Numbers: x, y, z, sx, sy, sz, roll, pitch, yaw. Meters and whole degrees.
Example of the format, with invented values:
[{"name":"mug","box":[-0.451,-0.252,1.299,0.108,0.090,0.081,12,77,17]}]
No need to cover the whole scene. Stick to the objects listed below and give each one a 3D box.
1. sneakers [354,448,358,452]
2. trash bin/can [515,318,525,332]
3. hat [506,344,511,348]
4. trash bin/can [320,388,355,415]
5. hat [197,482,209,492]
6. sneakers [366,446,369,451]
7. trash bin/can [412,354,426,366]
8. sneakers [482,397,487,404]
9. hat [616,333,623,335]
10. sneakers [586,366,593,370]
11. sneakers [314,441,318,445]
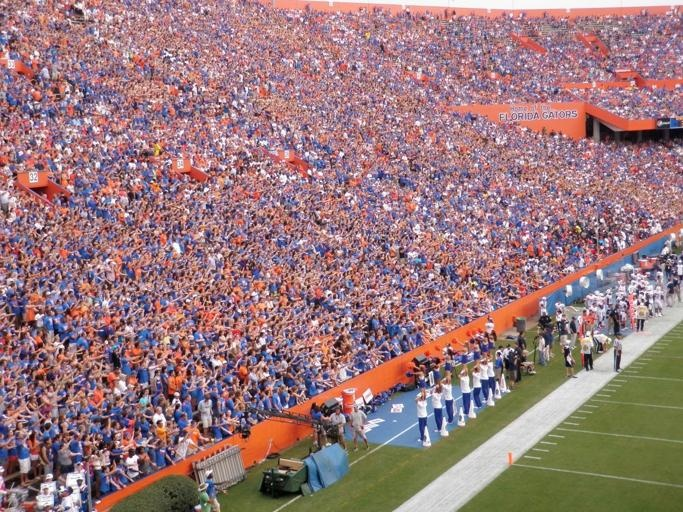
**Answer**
[{"name":"sneakers","box":[0.445,6.449,41.811,0.065,0.145,0.199,-8,-12,36]},{"name":"trash bin/can","box":[7.011,2.726,49.694,0.439,0.513,0.463,1,6,34]},{"name":"hat","box":[6.075,3.302,46.190,0.157,0.116,0.236,0,10,9]},{"name":"trash bin/can","box":[-0.055,4.918,42.613,0.492,0.756,1.692,5,8,39]},{"name":"hat","box":[-4.246,7.084,38.446,0.284,0.337,0.314,2,25,-7]},{"name":"sneakers","box":[0.842,6.386,41.831,0.134,0.054,0.215,6,26,-1]},{"name":"trash bin/can","box":[2.841,3.796,45.854,0.566,0.228,0.420,-16,33,-38]},{"name":"sneakers","box":[5.040,5.158,44.620,0.172,0.129,0.342,8,26,6]},{"name":"hat","box":[10.546,2.990,48.054,0.202,0.135,0.281,-1,2,11]},{"name":"sneakers","box":[9.156,4.186,46.702,0.272,0.215,0.096,0,-3,0]},{"name":"sneakers","box":[-0.878,6.232,41.900,0.090,0.116,0.253,0,-9,-21]}]
